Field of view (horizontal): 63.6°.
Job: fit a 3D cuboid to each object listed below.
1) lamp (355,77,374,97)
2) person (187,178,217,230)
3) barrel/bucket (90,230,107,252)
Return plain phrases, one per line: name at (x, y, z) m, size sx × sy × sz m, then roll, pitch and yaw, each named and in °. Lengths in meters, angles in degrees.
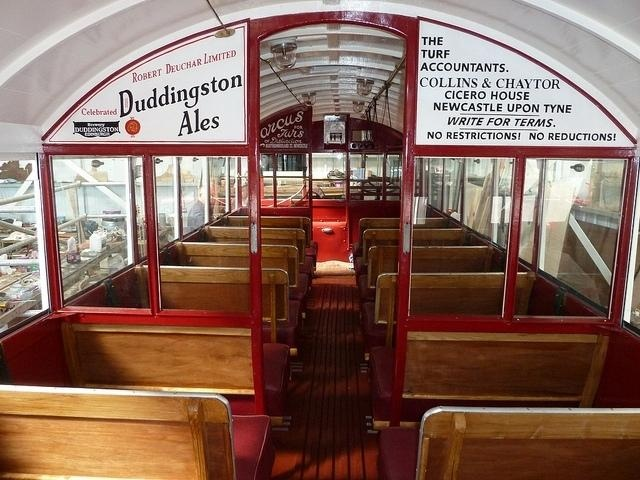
lamp at (0.796, -2.678, 8.933) m, size 0.234 × 0.244 × 0.281 m, roll 0°, pitch 4°, yaw -3°
person at (-1.912, -0.372, 8.220) m, size 0.306 × 0.971 × 0.394 m, roll 5°, pitch 21°, yaw -15°
barrel/bucket at (-2.325, 0.012, 5.457) m, size 0.085 × 0.180 × 0.224 m, roll 4°, pitch 6°, yaw 2°
